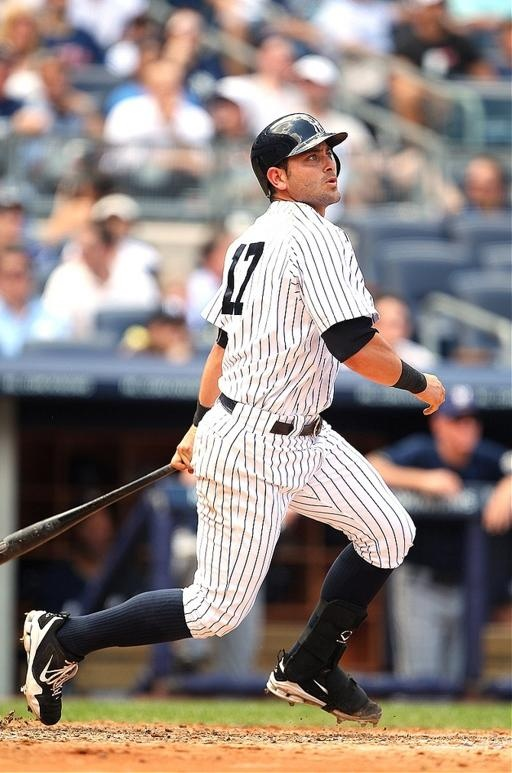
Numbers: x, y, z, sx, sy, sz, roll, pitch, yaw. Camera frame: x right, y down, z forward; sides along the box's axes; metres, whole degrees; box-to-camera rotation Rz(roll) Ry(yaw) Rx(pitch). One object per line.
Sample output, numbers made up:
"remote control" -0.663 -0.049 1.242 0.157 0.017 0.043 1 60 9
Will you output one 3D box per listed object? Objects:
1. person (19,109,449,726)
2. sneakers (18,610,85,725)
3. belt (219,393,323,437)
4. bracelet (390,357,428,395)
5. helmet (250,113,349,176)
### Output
"person" -0.010 0.160 3.471 0.813 1.458 1.076 18 37 26
"sneakers" -0.531 0.704 3.563 0.178 0.292 0.119 -4 -5 7
"belt" 0.027 0.089 3.419 0.155 0.043 0.144 14 -9 35
"bracelet" 0.379 -0.024 3.399 0.077 0.122 0.121 3 32 7
"helmet" 0.091 -0.616 3.511 0.262 0.117 0.174 -22 1 26
